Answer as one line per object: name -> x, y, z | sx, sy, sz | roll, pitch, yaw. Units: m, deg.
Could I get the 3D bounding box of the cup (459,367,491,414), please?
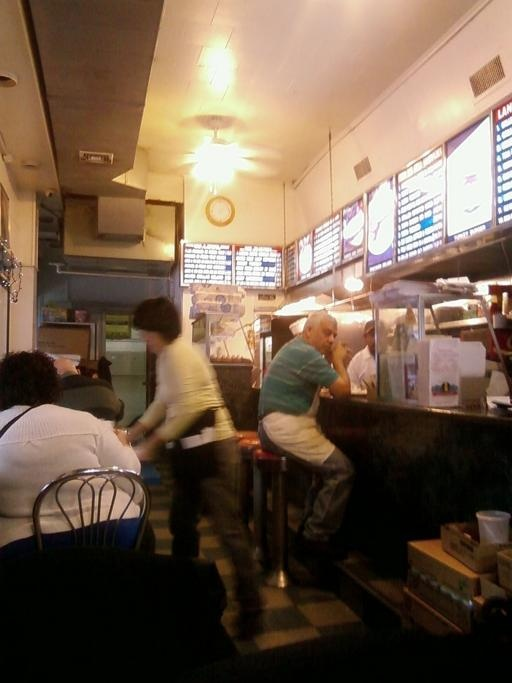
cup -> 0.752, 0.163, 1.876 | 0.071, 0.104, 0.132 | -1, 0, 37

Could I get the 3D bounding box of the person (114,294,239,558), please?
person -> -0.346, 0.428, 2.079 | 0.477, 1.192, 0.433 | -6, -10, 31

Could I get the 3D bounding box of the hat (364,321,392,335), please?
hat -> 0.570, -0.059, 2.559 | 0.098, 0.092, 0.072 | -2, -4, -28

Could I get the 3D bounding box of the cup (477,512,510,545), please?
cup -> 0.649, 0.499, 1.500 | 0.081, 0.076, 0.082 | -3, -2, 0

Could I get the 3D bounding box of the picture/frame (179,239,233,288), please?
picture/frame -> -0.617, -0.888, 6.404 | 0.525, 0.523, 0.060 | 4, -12, -14

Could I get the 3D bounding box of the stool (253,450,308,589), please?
stool -> 0.112, 0.862, 2.615 | 0.210, 0.604, 0.591 | 1, -5, -4

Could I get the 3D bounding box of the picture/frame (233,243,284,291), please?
picture/frame -> 0.001, -0.899, 6.629 | 0.515, 0.697, 0.066 | -6, 7, -21
